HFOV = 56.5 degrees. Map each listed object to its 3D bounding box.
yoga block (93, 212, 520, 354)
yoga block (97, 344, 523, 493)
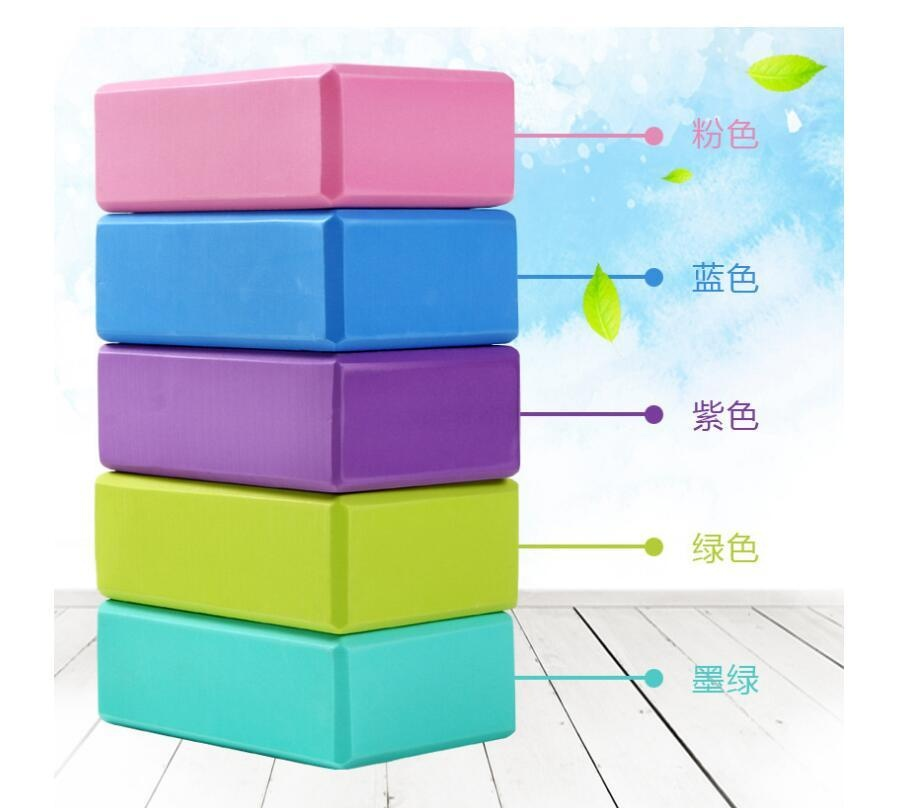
[{"bbox_3d":[-0.237,-0.186,1.251,0.650,0.175,0.236,1,-1,14],"label":"yoga block"},{"bbox_3d":[-0.238,0.010,1.263,0.655,0.175,0.226,1,-1,16],"label":"yoga block"}]
